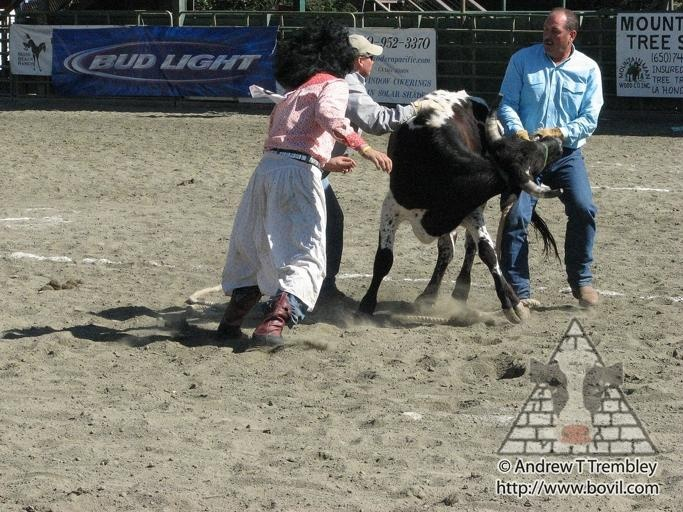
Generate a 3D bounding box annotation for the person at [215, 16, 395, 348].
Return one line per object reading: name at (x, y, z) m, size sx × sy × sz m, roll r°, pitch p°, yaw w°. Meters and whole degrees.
person at (-0.353, -0.520, 6.980) m, size 1.140 × 2.468 × 0.631 m, roll 3°, pitch 13°, yaw 5°

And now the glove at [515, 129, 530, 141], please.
glove at (1.486, -0.981, 7.546) m, size 0.089 × 0.039 × 0.114 m, roll 25°, pitch 18°, yaw 20°

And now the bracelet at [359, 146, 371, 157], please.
bracelet at (0.175, -0.747, 6.581) m, size 0.080 × 0.066 × 0.023 m, roll 12°, pitch -28°, yaw 35°

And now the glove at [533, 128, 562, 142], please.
glove at (1.703, -0.992, 7.622) m, size 0.176 × 0.055 × 0.124 m, roll 1°, pitch -5°, yaw -37°

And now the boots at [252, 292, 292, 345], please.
boots at (-0.510, 0.460, 7.037) m, size 0.258 × 0.385 × 0.450 m, roll 16°, pitch 28°, yaw 0°
